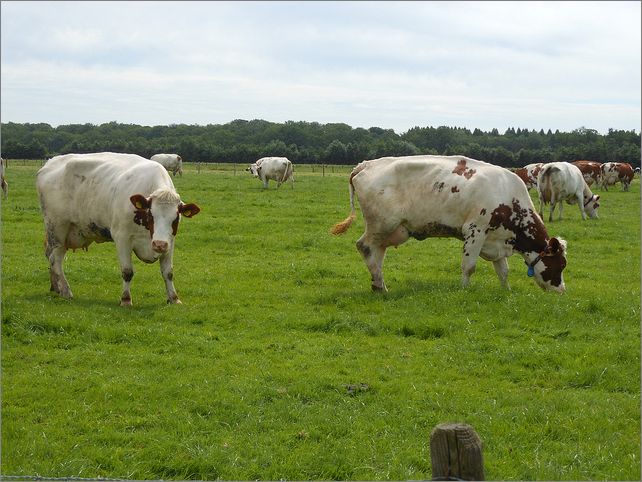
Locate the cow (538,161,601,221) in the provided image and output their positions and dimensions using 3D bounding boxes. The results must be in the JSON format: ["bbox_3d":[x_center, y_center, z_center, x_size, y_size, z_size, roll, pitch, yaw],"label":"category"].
[{"bbox_3d":[11.363,-2.046,32.445,4.169,2.685,1.248,4,1,-38],"label":"cow"}]

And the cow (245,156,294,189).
[{"bbox_3d":[-3.251,-4.209,45.885,3.348,2.067,1.139,1,4,38],"label":"cow"}]

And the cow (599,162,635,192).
[{"bbox_3d":[21.290,-4.553,51.628,2.052,1.968,3.426,5,8,22],"label":"cow"}]

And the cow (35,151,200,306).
[{"bbox_3d":[-5.036,-0.264,17.644,4.813,3.727,1.978,6,9,28],"label":"cow"}]
